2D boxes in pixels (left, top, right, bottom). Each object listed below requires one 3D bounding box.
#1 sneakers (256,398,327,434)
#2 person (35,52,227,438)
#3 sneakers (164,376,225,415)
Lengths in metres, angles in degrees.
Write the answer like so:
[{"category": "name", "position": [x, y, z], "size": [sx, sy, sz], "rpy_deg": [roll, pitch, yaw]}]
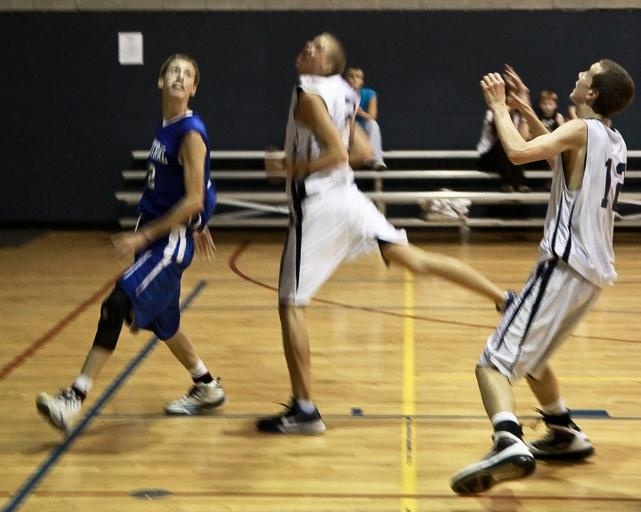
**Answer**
[{"category": "sneakers", "position": [-0.151, 0.816, 3.679], "size": [0.397, 0.218, 0.156], "rpy_deg": [2, -8, 6]}, {"category": "person", "position": [-0.900, -0.053, 3.544], "size": [0.831, 1.895, 0.456], "rpy_deg": [-5, 12, -24]}, {"category": "sneakers", "position": [-0.660, 0.773, 3.931], "size": [0.357, 0.206, 0.145], "rpy_deg": [-11, 2, -3]}]
